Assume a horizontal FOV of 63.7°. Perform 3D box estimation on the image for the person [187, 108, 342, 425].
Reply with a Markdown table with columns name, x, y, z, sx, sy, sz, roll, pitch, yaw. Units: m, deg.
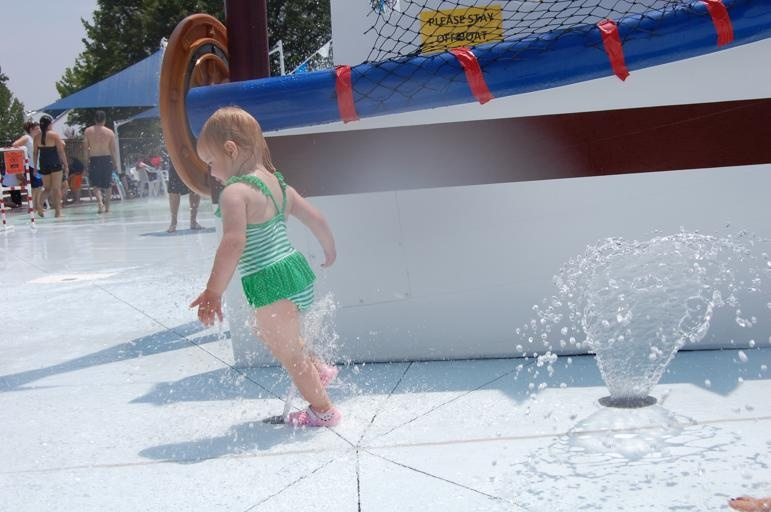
| name | x | y | z | sx | sy | sz | roll | pitch | yaw |
| --- | --- | --- | --- | --- | --- | --- | --- | --- | --- |
| person | -0.666 | 0.044 | 3.571 | 0.745 | 1.757 | 0.739 | -4 | 14 | -4 |

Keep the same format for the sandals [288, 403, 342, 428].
| name | x | y | z | sx | sy | sz | roll | pitch | yaw |
| --- | --- | --- | --- | --- | --- | --- | --- | --- | --- |
| sandals | -0.397 | 0.913 | 3.556 | 0.301 | 0.131 | 0.119 | 3 | 2 | 1 |

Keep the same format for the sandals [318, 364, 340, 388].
| name | x | y | z | sx | sy | sz | roll | pitch | yaw |
| --- | --- | --- | --- | --- | --- | --- | --- | --- | --- |
| sandals | -0.348 | 0.734 | 3.812 | 0.128 | 0.141 | 0.156 | -1 | -8 | 6 |

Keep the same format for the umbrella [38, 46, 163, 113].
| name | x | y | z | sx | sy | sz | roll | pitch | yaw |
| --- | --- | --- | --- | --- | --- | --- | --- | --- | --- |
| umbrella | -7.525 | -4.777 | 17.199 | 3.682 | 1.626 | 2.085 | 1 | 13 | -1 |
